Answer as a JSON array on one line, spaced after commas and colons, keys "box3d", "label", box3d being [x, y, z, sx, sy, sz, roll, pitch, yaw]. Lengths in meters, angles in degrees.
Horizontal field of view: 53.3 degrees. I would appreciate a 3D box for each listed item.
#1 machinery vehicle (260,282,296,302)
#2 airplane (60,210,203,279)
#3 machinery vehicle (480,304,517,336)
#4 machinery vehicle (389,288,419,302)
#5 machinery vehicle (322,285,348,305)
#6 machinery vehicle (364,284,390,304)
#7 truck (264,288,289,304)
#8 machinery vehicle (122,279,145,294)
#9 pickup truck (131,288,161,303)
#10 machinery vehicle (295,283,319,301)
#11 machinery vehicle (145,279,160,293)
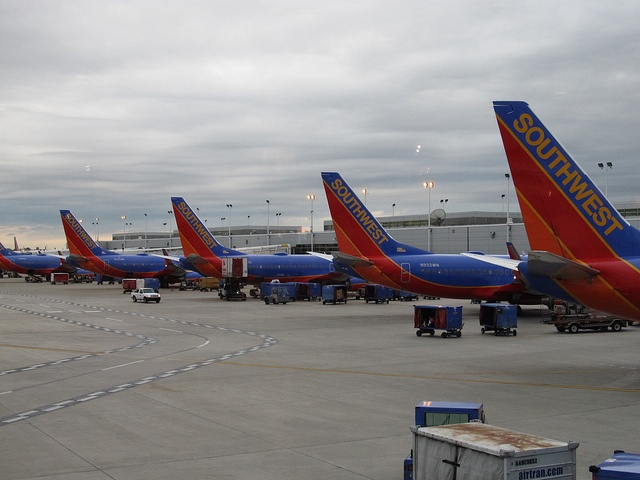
[{"box3d": [-4.575, 5.159, 63.478, 3.775, 1.172, 1.977, -1, 0, 20], "label": "machinery vehicle"}, {"box3d": [-27.250, 1.967, 93.400, 23.943, 6.321, 20.399, 0, 3, -28], "label": "airplane"}, {"box3d": [11.088, 4.897, 39.200, 1.829, 1.295, 2.151, 3, -8, -6], "label": "machinery vehicle"}, {"box3d": [9.208, 6.118, 69.537, 4.261, 1.392, 2.120, 2, -3, -29], "label": "machinery vehicle"}, {"box3d": [1.526, 5.479, 62.783, 2.406, 1.839, 3.246, -1, 2, 3], "label": "machinery vehicle"}, {"box3d": [5.834, 5.376, 63.445, 3.545, 1.508, 2.316, 0, 1, 1], "label": "machinery vehicle"}, {"box3d": [-4.236, 5.391, 61.446, 2.223, 1.414, 0.833, -4, -1, 5], "label": "truck"}, {"box3d": [-22.691, 5.646, 78.375, 2.274, 1.347, 3.167, 1, -2, -45], "label": "machinery vehicle"}, {"box3d": [-16.858, 5.430, 61.996, 1.488, 0.753, 3.025, 2, -4, -41], "label": "pickup truck"}, {"box3d": [-1.359, 5.445, 67.245, 2.862, 1.113, 2.201, 0, 1, -13], "label": "machinery vehicle"}, {"box3d": [-20.282, 5.487, 77.096, 1.798, 1.322, 2.704, -3, -3, 19], "label": "machinery vehicle"}]
